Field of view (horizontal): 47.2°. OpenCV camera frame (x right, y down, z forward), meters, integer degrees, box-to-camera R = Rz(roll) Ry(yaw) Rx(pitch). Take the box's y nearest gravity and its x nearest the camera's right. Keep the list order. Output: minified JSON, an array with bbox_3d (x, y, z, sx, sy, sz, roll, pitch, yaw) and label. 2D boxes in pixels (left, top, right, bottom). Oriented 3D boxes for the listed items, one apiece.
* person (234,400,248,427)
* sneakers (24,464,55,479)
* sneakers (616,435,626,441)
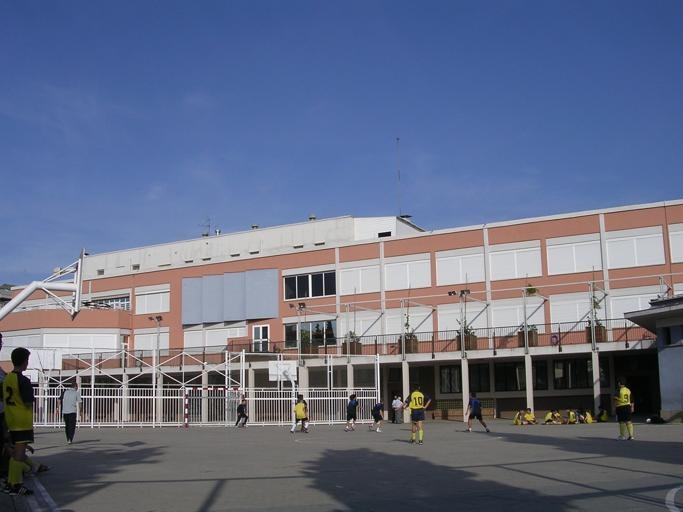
[{"bbox_3d":[-4.837,7.600,37.753,0.521,1.296,1.468,0,-12,-11],"label":"person"},{"bbox_3d":[-6.707,4.816,17.420,0.653,0.195,0.256,3,-7,-42],"label":"sneakers"},{"bbox_3d":[9.238,6.066,25.930,0.136,0.171,0.405,1,-5,25],"label":"sneakers"}]
